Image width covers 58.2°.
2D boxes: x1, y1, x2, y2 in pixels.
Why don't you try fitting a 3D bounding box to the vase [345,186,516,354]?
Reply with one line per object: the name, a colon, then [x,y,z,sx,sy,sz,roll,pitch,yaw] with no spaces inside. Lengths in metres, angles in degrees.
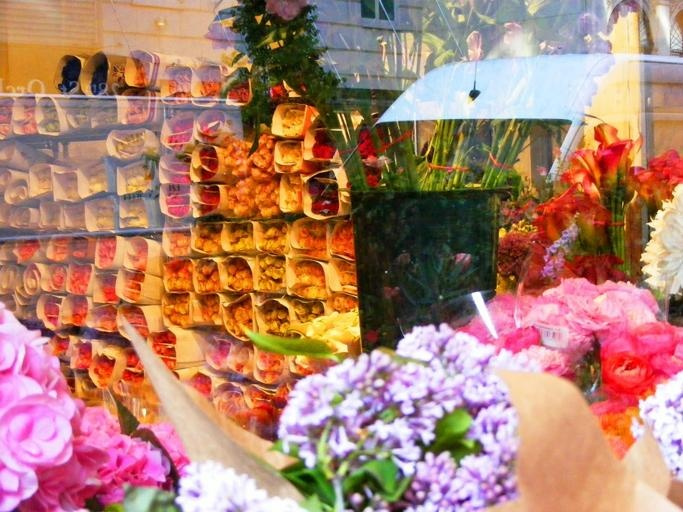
vase: [0.125,0.011,0.984,0.205,0.264,0.215,-2,2,-14]
